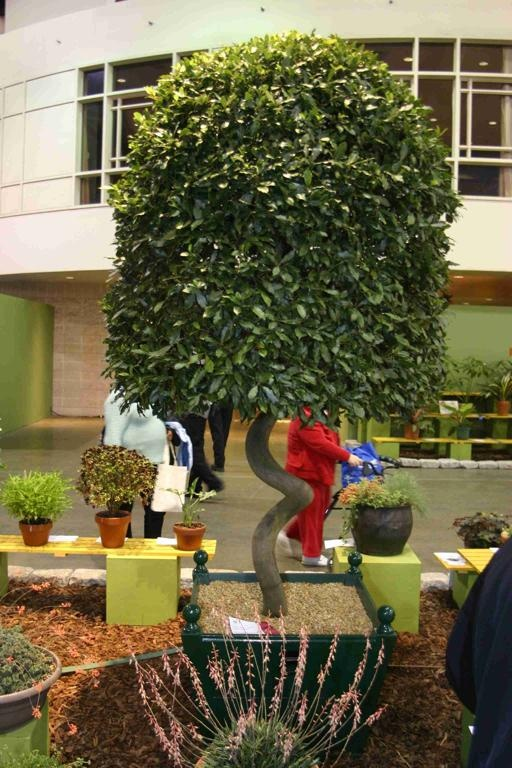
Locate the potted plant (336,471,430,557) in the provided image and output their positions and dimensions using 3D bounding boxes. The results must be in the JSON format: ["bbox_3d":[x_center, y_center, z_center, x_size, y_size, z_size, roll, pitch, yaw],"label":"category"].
[{"bbox_3d":[0.633,0.670,3.369,0.500,0.450,0.365,1,0,9],"label":"potted plant"}]

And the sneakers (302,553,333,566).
[{"bbox_3d":[0.376,1.163,4.141,0.209,0.083,0.080,-1,4,-6],"label":"sneakers"}]
